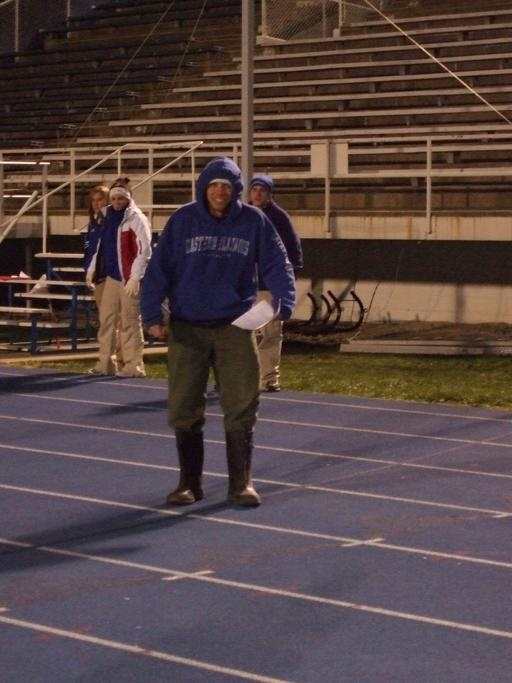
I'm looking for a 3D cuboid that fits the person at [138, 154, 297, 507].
[{"bbox_3d":[-0.177,-0.031,4.388,0.689,1.572,0.369,1,5,-1],"label":"person"}]

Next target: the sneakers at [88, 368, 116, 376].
[{"bbox_3d":[-1.478,0.280,9.206,0.256,0.091,0.094,3,5,5],"label":"sneakers"}]

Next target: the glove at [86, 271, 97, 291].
[{"bbox_3d":[-1.567,-0.584,9.185,0.073,0.054,0.209,-21,-21,-5],"label":"glove"}]

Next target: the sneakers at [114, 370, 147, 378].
[{"bbox_3d":[-1.188,0.307,9.106,0.300,0.107,0.096,2,-1,19],"label":"sneakers"}]
